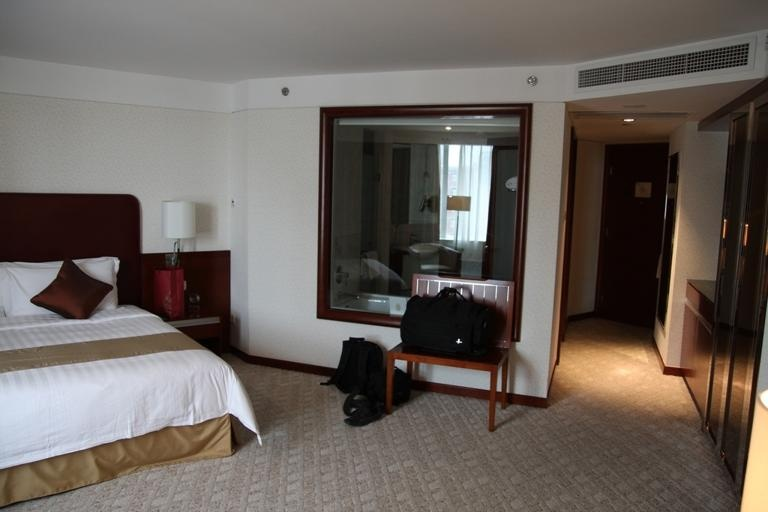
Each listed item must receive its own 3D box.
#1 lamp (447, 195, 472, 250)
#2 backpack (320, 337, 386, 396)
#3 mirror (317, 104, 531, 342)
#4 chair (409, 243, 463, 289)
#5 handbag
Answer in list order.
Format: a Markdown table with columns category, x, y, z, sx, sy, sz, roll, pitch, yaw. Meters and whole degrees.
| category | x | y | z | sx | sy | sz | roll | pitch | yaw |
| --- | --- | --- | --- | --- | --- | --- | --- | --- | --- |
| lamp | 0.730 | -0.349 | 5.325 | 0.239 | 0.530 | 0.100 | 6 | 14 | 7 |
| backpack | -0.282 | 1.119 | 5.413 | 0.538 | 0.548 | 0.446 | -5 | -12 | 22 |
| mirror | 0.483 | -0.392 | 5.335 | 2.277 | 2.504 | 0.116 | 4 | 5 | 27 |
| chair | 0.522 | 0.085 | 5.252 | 0.380 | 0.416 | 0.371 | 0 | -4 | 5 |
| handbag | 0.593 | 0.608 | 5.038 | 0.776 | 0.600 | 0.434 | 4 | -3 | 32 |
